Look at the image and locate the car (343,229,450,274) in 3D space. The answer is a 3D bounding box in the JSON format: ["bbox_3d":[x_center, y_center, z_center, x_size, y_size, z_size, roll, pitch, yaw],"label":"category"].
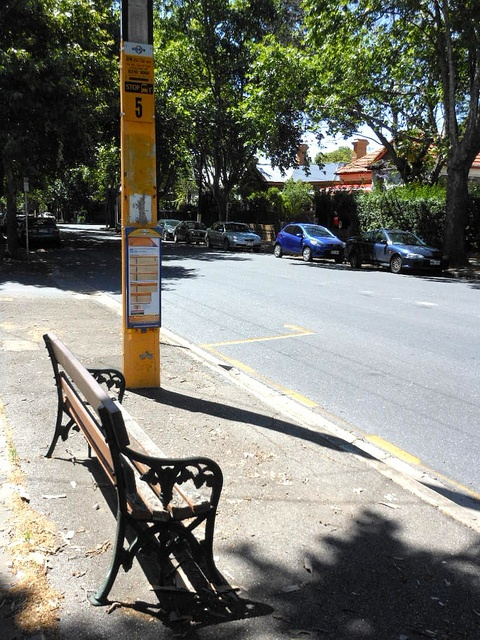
[{"bbox_3d":[5.546,-2.490,21.147,1.197,1.472,3.951,-2,11,-28],"label":"car"}]

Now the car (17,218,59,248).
[{"bbox_3d":[-8.742,-3.816,25.857,1.230,1.024,2.954,-3,11,-24],"label":"car"}]

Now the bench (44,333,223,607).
[{"bbox_3d":[-0.634,0.601,3.119,0.607,0.703,1.701,0,7,-19],"label":"bench"}]

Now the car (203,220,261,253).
[{"bbox_3d":[-0.349,-4.510,31.439,1.798,1.418,3.050,-3,11,-33],"label":"car"}]

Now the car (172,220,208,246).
[{"bbox_3d":[-3.060,-5.546,37.140,1.203,1.184,2.666,-2,5,-23],"label":"car"}]

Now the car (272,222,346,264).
[{"bbox_3d":[3.034,-3.276,24.838,1.512,1.251,2.703,-2,6,-29],"label":"car"}]
